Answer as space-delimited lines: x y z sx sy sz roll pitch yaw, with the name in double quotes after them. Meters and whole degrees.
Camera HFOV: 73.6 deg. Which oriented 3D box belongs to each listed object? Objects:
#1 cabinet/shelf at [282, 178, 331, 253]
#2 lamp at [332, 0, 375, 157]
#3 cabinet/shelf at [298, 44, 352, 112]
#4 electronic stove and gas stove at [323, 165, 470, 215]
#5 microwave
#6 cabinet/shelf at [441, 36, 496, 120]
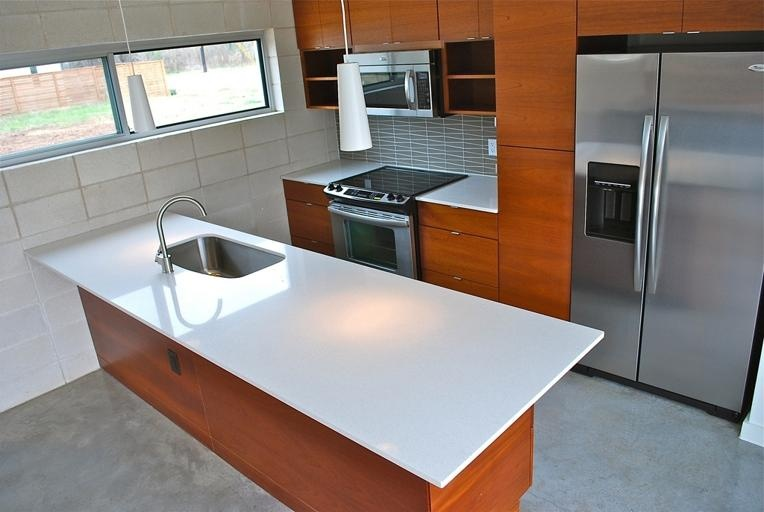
-0.702 -0.409 4.826 0.571 0.674 0.406 13 24 32 "cabinet/shelf"
-0.162 -0.799 2.777 0.164 0.456 0.217 -5 24 -3 "lamp"
-0.670 -1.684 4.900 0.292 0.490 0.525 6 22 30 "cabinet/shelf"
0.125 -0.602 4.576 0.998 0.192 0.848 15 28 36 "electronic stove and gas stove"
0.171 -1.505 4.468 0.891 0.514 0.544 14 31 36 "microwave"
0.839 -1.450 4.154 0.403 0.508 0.528 -33 35 -30 "cabinet/shelf"
